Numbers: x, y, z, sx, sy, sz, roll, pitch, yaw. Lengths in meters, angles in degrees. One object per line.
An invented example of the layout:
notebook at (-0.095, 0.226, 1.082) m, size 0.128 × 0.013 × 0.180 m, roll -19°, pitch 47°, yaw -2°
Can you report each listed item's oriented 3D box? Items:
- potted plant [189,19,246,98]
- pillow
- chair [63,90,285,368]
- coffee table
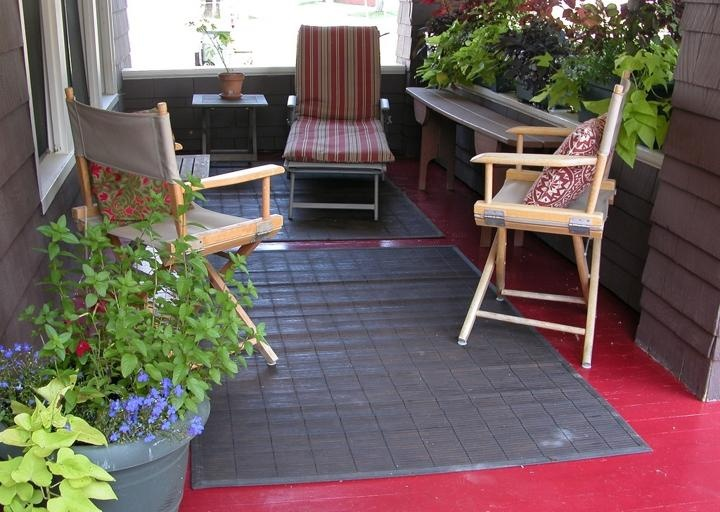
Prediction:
potted plant at (-1.514, -2.064, 5.720) m, size 0.588 × 1.071 × 0.555 m, roll 20°, pitch 25°, yaw 39°
pillow at (1.005, -0.493, 2.617) m, size 0.356 × 0.457 × 0.407 m, roll 10°, pitch 18°, yaw 17°
chair at (-0.849, -0.254, 2.565) m, size 0.832 × 1.298 × 0.949 m, roll 21°, pitch 30°, yaw 37°
coffee table at (-1.433, -1.471, 5.543) m, size 1.020 × 0.811 × 0.776 m, roll -1°, pitch 36°, yaw -5°
